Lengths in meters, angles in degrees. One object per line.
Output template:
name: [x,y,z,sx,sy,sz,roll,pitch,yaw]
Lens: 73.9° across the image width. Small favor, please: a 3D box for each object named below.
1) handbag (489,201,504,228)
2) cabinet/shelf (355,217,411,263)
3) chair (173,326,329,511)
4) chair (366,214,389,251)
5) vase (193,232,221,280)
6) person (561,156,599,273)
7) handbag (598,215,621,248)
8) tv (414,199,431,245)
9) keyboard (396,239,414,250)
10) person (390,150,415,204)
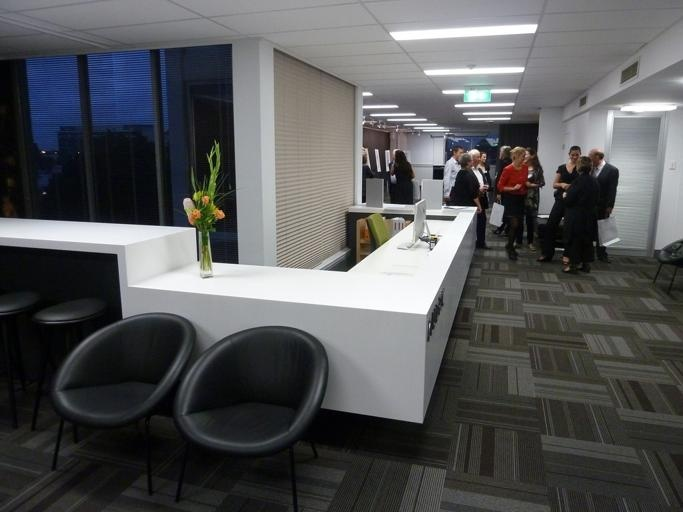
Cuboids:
handbag: [2.564,-0.677,7.444,0.185,0.390,0.558,4,14,19]
cabinet/shelf: [0.556,-0.229,5.812,0.712,0.713,0.242,-1,1,10]
chair: [-0.492,0.860,2.679,0.919,0.901,0.870,3,11,14]
chair: [0.447,-0.303,5.493,0.249,0.364,0.646,0,14,4]
vase: [-1.019,-0.058,3.400,0.124,0.338,0.468,-5,14,-16]
person: [3.414,-0.560,6.463,0.400,1.671,0.563,8,16,33]
handbag: [4.196,-0.414,7.130,0.466,0.463,0.166,-8,4,19]
tv: [0.948,-0.389,5.289,0.229,0.664,0.670,1,9,13]
keyboard: [0.694,-0.121,4.863,0.166,0.042,0.264,6,15,26]
person: [1.191,-1.532,8.826,0.414,1.027,0.720,1,14,7]
